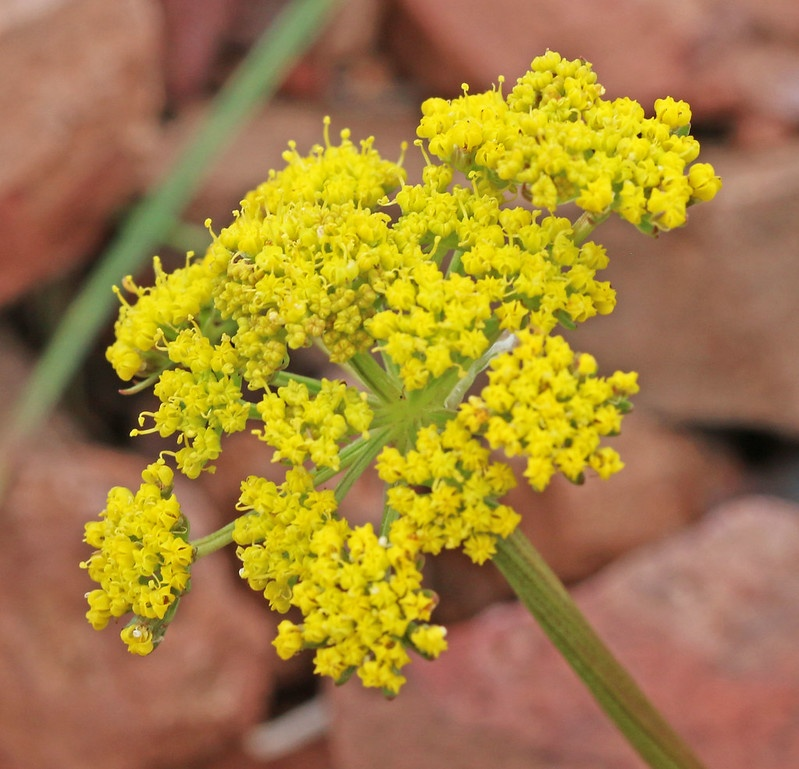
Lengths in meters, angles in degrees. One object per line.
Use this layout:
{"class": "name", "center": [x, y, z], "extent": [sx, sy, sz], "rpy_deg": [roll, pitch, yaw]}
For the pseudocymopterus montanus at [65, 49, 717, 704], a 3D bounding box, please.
{"class": "pseudocymopterus montanus", "center": [0.079, 0.032, 0.868], "extent": [0.595, 0.210, 0.433], "rpy_deg": [-51, 51, -2]}
